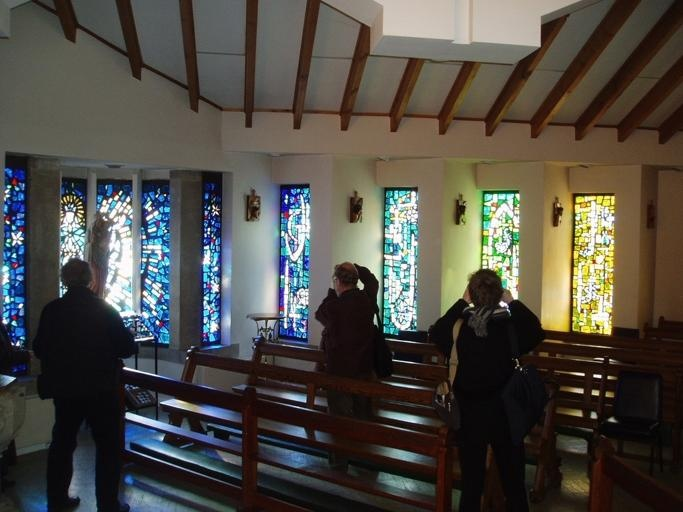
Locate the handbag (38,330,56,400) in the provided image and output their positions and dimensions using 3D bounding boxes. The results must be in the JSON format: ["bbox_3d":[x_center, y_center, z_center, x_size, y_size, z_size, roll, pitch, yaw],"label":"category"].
[{"bbox_3d":[-2.168,0.821,3.993,0.228,0.499,0.069,1,0,35],"label":"handbag"}]

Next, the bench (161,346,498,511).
[{"bbox_3d":[-0.166,1.589,4.702,2.816,1.007,0.980,8,-13,25],"label":"bench"}]

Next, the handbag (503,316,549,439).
[{"bbox_3d":[1.159,0.811,3.439,0.183,0.481,0.299,1,0,44],"label":"handbag"}]
